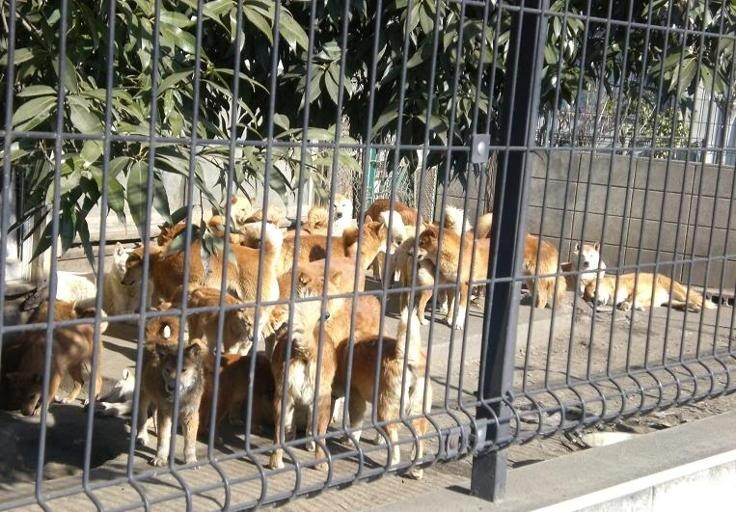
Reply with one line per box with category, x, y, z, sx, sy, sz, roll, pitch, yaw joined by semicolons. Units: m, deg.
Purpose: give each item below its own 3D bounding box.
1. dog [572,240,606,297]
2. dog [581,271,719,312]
dog;2.819;0.140;11.279;0.392;0.857;1.254;3;7;18
dog;3.105;0.420;9.844;1.125;0.303;0.457;-2;34;-12
